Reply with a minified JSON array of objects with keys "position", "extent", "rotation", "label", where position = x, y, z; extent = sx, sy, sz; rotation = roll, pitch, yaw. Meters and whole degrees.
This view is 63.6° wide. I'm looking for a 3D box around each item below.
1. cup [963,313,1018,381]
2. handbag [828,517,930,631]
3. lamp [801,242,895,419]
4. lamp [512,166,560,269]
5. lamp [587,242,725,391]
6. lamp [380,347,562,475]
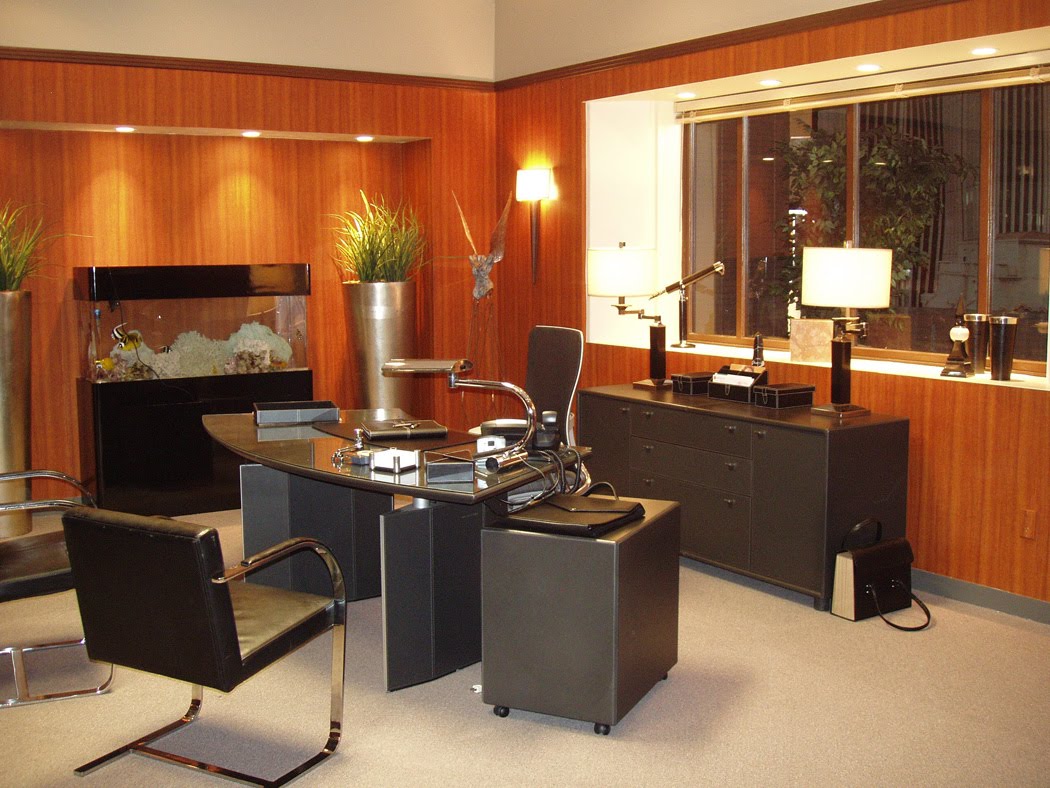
[{"position":[2.379,-0.238,4.296],"extent":[0.167,0.296,0.339],"rotation":[-1,11,-1],"label":"cup"},{"position":[1.763,0.865,4.099],"extent":[0.456,0.441,0.354],"rotation":[-4,7,-30],"label":"handbag"},{"position":[1.706,-0.366,4.571],"extent":[0.423,0.831,0.742],"rotation":[3,12,16],"label":"lamp"},{"position":[0.051,-1.337,6.372],"extent":[0.220,0.841,0.406],"rotation":[-7,13,-30],"label":"lamp"},{"position":[0.828,-0.457,5.268],"extent":[0.390,0.950,1.000],"rotation":[-11,16,-38],"label":"lamp"},{"position":[-0.234,0.045,3.664],"extent":[0.655,0.409,0.524],"rotation":[8,14,36],"label":"lamp"}]
